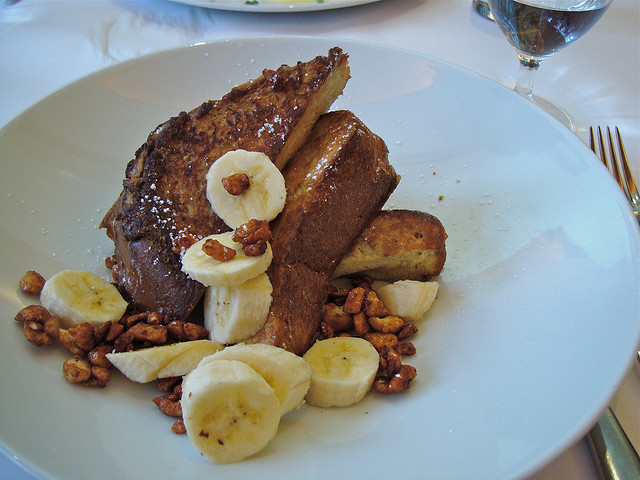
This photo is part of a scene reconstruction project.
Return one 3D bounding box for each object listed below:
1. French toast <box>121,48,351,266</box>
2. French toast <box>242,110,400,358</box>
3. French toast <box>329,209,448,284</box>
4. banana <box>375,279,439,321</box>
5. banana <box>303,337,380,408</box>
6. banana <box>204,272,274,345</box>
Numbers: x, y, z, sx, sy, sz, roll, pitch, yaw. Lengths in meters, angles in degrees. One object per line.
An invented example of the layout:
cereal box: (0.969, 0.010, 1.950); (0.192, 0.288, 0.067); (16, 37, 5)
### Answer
French toast: (-0.305, -0.212, 2.117); (0.530, 0.805, 0.631); (0, 22, 7)
French toast: (0.010, -0.039, 2.033); (0.418, 0.835, 0.409); (-6, 22, -18)
French toast: (0.258, -0.003, 2.152); (0.356, 0.260, 0.352); (13, 24, 36)
banana: (0.318, 0.157, 2.067); (0.155, 0.125, 0.216); (-15, 26, -35)
banana: (0.047, 0.373, 1.857); (0.232, 0.165, 0.193); (-11, 24, -26)
banana: (-0.270, 0.173, 1.928); (0.248, 0.204, 0.200); (-8, 23, -29)
